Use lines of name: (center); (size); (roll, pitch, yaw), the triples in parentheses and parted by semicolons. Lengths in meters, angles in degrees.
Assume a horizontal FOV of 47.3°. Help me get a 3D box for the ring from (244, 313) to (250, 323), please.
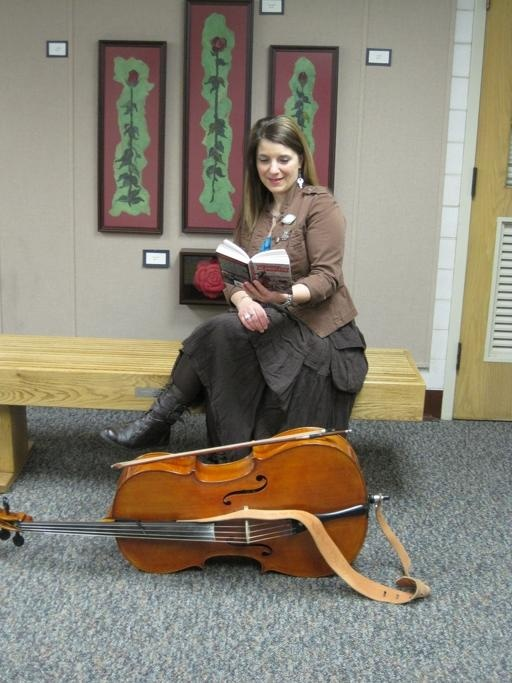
ring: (-0.031, -0.080, 1.954); (0.031, 0.028, 0.009); (3, 11, -14)

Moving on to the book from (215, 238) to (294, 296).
book: (-0.014, -0.221, 1.766); (0.214, 0.081, 0.118); (0, -9, 1)

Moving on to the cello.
cello: (-0.172, 0.478, 1.773); (1.125, 0.432, 0.189); (-1, 16, 6)

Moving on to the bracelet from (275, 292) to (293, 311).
bracelet: (0.090, -0.134, 1.906); (0.036, 0.066, 0.090); (3, -3, 6)

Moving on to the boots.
boots: (-0.378, 0.242, 2.169); (0.415, 0.285, 0.154); (2, 33, -24)
